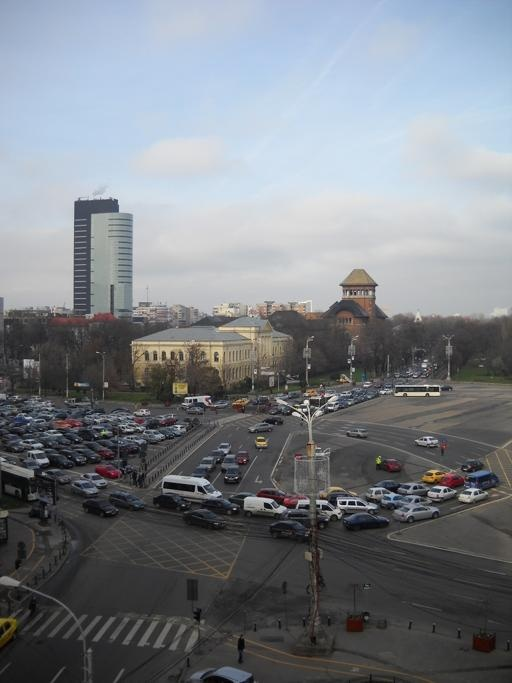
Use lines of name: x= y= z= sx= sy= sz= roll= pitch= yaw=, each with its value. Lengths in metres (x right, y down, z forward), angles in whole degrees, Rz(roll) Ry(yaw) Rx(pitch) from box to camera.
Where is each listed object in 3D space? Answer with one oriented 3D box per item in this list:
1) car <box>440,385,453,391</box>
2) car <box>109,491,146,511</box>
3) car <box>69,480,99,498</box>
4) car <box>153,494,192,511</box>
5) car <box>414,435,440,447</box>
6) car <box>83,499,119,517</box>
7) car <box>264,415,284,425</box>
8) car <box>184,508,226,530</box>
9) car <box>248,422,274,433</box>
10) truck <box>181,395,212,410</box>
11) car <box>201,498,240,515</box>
car: x=27.383 y=6.716 z=136.191 sx=0.961 sy=0.681 sz=1.710 roll=-4 pitch=-7 yaw=44
car: x=-8.120 y=10.015 z=59.319 sx=2.169 sy=0.651 sz=1.004 roll=2 pitch=6 yaw=40
car: x=-11.518 y=9.913 z=63.254 sx=0.937 sy=0.655 sz=2.001 roll=-6 pitch=4 yaw=-43
car: x=-5.399 y=10.145 z=59.306 sx=1.893 sy=0.696 sz=0.986 roll=-2 pitch=2 yaw=21
car: x=14.693 y=8.767 z=82.437 sx=1.717 sy=0.660 sz=0.964 roll=9 pitch=11 yaw=41
car: x=-9.596 y=10.301 z=57.842 sx=2.040 sy=0.641 sz=0.882 roll=15 pitch=14 yaw=35
car: x=1.714 y=8.347 z=99.084 sx=1.926 sy=0.563 sz=0.799 roll=4 pitch=2 yaw=0
car: x=-3.017 y=10.380 z=54.721 sx=2.177 sy=0.621 sz=0.983 roll=11 pitch=8 yaw=31
car: x=0.355 y=8.454 z=92.083 sx=2.213 sy=0.640 sz=0.888 roll=0 pitch=0 yaw=-18
truck: x=-7.211 y=7.521 z=117.066 sx=1.358 sy=1.427 sz=3.827 roll=-2 pitch=-3 yaw=44
car: x=-2.263 y=10.097 z=57.887 sx=2.005 sy=0.579 sz=0.937 roll=1 pitch=7 yaw=26
